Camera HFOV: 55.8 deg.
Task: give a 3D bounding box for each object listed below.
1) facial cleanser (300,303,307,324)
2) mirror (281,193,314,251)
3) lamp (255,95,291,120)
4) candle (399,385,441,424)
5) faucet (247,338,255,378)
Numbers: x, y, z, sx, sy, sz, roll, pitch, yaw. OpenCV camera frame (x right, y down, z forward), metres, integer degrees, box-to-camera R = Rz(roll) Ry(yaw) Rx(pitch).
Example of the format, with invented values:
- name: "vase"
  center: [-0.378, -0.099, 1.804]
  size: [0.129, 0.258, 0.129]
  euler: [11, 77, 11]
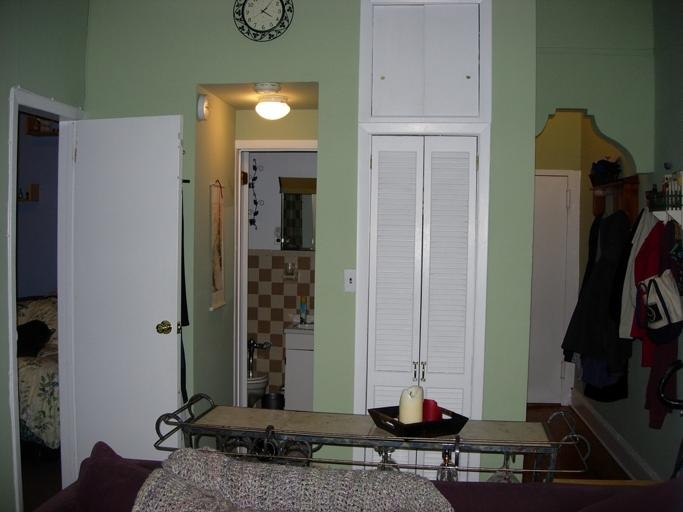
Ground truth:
- name: "facial cleanser"
  center: [-0.355, 0.536, 6.174]
  size: [0.066, 0.187, 0.238]
  euler: [1, 2, -4]
- name: "mirror"
  center: [-0.427, -0.348, 6.439]
  size: [0.334, 0.555, 0.106]
  euler: [1, 1, -9]
- name: "lamp"
  center: [-0.507, -1.114, 4.801]
  size: [0.179, 0.147, 0.183]
  euler: [3, 2, 35]
- name: "candle"
  center: [0.421, 0.844, 3.702]
  size: [0.226, 0.280, 0.163]
  euler: [4, -5, -24]
- name: "faucet"
  center: [-0.849, 0.956, 6.145]
  size: [0.078, 0.320, 0.507]
  euler: [1, 2, -8]
